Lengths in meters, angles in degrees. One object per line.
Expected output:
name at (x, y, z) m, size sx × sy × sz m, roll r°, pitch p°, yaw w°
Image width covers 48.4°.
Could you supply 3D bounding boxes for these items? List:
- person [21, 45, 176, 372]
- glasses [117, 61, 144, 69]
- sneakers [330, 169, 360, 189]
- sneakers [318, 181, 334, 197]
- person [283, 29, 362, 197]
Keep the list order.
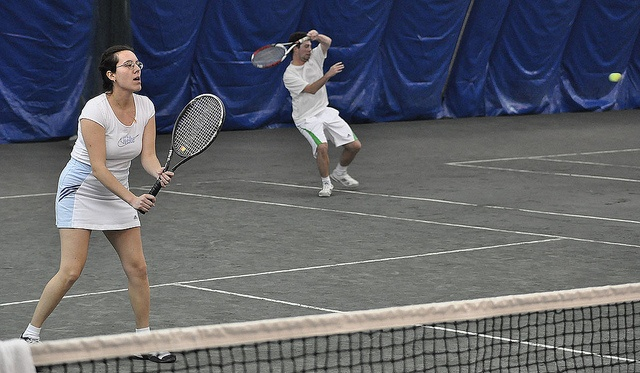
person at (-1.854, 0.155, 6.052) m, size 1.339 × 2.537 × 1.006 m, roll -15°, pitch 23°, yaw -33°
glasses at (-1.617, -1.017, 6.042) m, size 0.124 × 0.034 × 0.118 m, roll -7°, pitch -3°, yaw 40°
sneakers at (0.389, -0.156, 11.757) m, size 0.564 × 0.240 × 0.203 m, roll 18°, pitch 35°, yaw -8°
sneakers at (0.088, 0.043, 11.172) m, size 0.212 × 0.218 × 0.548 m, roll 0°, pitch -6°, yaw -2°
person at (0.007, -1.189, 11.416) m, size 0.991 × 2.542 × 1.348 m, roll -8°, pitch 20°, yaw -18°
